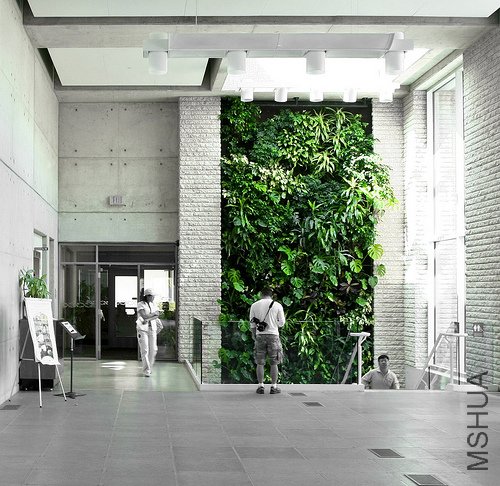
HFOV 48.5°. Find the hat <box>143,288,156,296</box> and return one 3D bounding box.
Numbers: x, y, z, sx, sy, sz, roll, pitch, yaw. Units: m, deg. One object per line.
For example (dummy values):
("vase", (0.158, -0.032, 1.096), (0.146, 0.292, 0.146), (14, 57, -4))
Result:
("hat", (-2.078, 0.996, 11.383), (0.351, 0.113, 0.346), (8, -9, -42))

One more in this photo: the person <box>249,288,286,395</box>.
("person", (0.251, 1.420, 8.212), (0.509, 1.542, 0.631), (1, -6, 0))

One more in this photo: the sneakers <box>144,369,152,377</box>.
("sneakers", (-1.970, 2.453, 10.593), (0.130, 0.122, 0.130), (3, 4, 14))

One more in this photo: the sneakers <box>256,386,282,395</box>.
("sneakers", (0.265, 2.149, 8.188), (0.260, 0.099, 0.152), (1, -5, -6))

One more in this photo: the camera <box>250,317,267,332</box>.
("camera", (0.117, 1.177, 8.107), (0.139, 0.206, 0.254), (6, -8, -44))

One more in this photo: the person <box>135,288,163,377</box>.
("person", (-1.933, 1.686, 10.563), (0.445, 1.643, 0.762), (1, -6, -9))

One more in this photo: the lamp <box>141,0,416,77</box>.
("lamp", (0.265, -2.204, 6.463), (3.152, 0.579, 0.477), (1, 7, 3))
